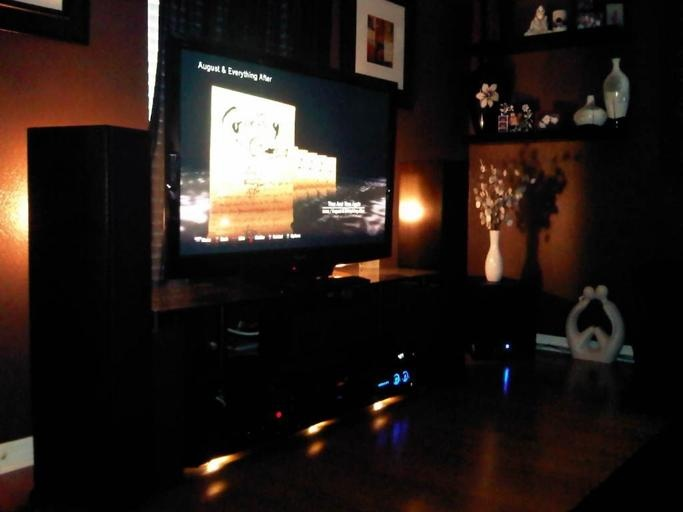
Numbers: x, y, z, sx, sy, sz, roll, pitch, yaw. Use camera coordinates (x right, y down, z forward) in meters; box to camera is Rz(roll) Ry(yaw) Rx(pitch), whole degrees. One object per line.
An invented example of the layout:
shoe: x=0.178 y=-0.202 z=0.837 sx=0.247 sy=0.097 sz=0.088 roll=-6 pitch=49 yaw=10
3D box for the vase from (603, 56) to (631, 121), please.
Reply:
vase: x=1.462 y=-0.885 z=3.108 sx=0.122 sy=0.325 sz=0.081 roll=4 pitch=8 yaw=31

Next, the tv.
tv: x=-0.232 y=-0.382 z=2.480 sx=1.149 sy=0.890 sz=0.105 roll=-3 pitch=5 yaw=-44

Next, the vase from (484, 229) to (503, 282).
vase: x=0.853 y=-0.004 z=3.253 sx=0.084 sy=0.273 sz=0.219 roll=1 pitch=8 yaw=12

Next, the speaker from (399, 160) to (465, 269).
speaker: x=0.514 y=-0.216 z=3.322 sx=0.381 sy=0.639 sz=0.205 roll=0 pitch=7 yaw=7

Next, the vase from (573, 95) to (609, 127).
vase: x=1.340 y=-0.762 z=3.146 sx=0.167 sy=0.170 sz=0.177 roll=0 pitch=11 yaw=17

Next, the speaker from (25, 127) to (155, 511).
speaker: x=-0.738 y=0.177 z=1.713 sx=0.370 sy=1.098 sz=0.224 roll=-2 pitch=7 yaw=-14

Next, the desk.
desk: x=-0.157 y=0.399 z=2.537 sx=0.430 sy=0.575 sz=1.577 roll=-2 pitch=-3 yaw=34
